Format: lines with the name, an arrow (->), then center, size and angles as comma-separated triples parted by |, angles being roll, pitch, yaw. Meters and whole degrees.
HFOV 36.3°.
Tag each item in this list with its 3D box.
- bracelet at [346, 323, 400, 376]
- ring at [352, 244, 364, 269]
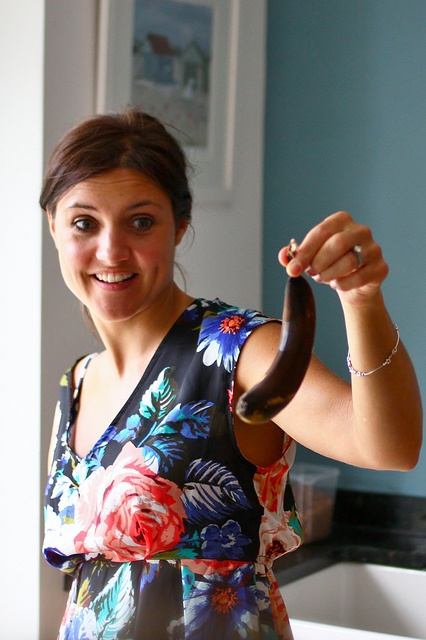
bracelet -> 0.143, 0.027, 0.582 | 0.050, 0.012, 0.041 | -42, 71, -9
ring -> 0.122, -0.054, 0.552 | 0.008, 0.017, 0.020 | -9, -11, -4
